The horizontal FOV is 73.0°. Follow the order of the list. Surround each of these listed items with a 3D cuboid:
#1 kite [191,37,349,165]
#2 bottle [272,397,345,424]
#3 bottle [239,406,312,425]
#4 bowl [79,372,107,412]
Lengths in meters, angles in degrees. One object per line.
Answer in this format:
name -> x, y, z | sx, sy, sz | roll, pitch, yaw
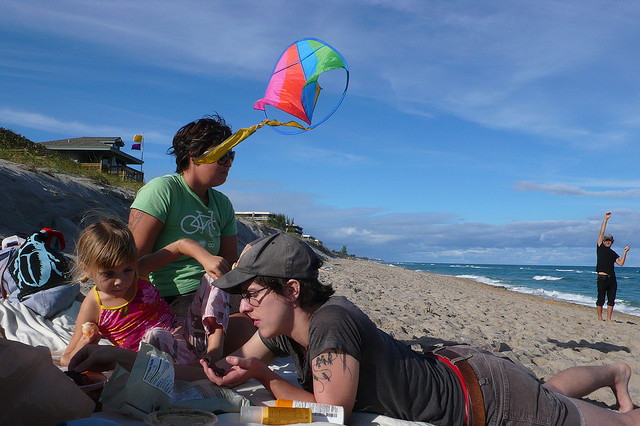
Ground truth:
kite -> -0.459, -1.054, 4.170 | 0.916, 1.862, 0.275 | 25, -25, 30
bottle -> -0.090, 1.267, 2.854 | 0.533, 0.149, 0.153 | 3, -29, 11
bottle -> -0.285, 1.295, 2.863 | 0.547, 0.149, 0.158 | 2, -4, -4
bowl -> -1.536, 1.183, 2.912 | 0.155, 0.239, 0.292 | 8, 0, -23
